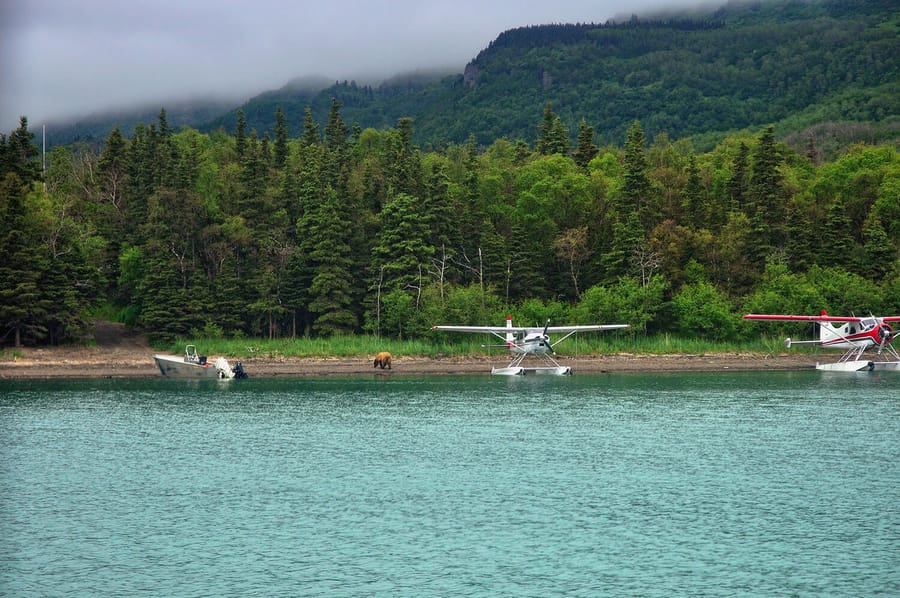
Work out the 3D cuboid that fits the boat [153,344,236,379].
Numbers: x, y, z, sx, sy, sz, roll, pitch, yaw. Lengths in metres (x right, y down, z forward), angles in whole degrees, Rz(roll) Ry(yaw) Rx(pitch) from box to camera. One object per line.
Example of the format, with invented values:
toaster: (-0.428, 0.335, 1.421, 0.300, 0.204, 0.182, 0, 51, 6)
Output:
boat: (-28.928, 7.834, 145.476, 7.945, 2.978, 2.295, -2, 12, -12)
